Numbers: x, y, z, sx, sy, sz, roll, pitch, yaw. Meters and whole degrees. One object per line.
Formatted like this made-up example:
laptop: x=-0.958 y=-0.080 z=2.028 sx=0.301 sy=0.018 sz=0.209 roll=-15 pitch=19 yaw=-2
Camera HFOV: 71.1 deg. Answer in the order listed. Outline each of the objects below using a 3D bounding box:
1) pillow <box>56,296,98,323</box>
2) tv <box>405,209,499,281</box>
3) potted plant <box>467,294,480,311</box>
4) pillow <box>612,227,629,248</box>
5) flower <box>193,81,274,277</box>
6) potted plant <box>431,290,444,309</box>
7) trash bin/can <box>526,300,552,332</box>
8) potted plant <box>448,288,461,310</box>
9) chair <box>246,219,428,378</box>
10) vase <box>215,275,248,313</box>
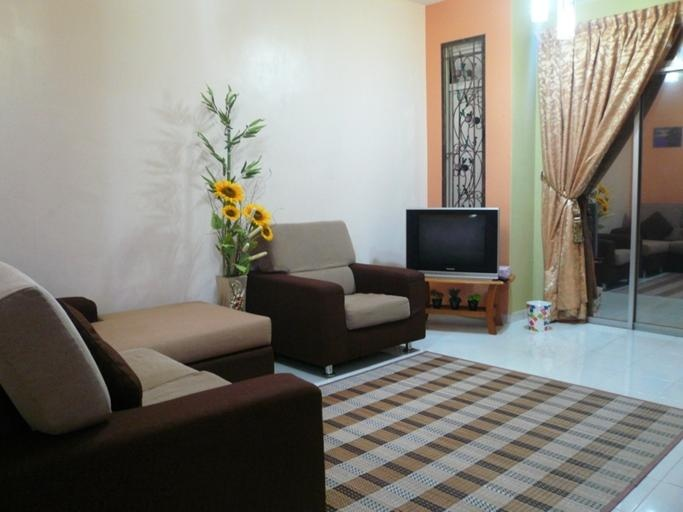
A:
pillow: x=-1.377 y=0.279 z=2.474 sx=0.203 sy=0.109 sz=0.216 roll=14 pitch=1 yaw=37
tv: x=1.212 y=-0.143 z=5.062 sx=0.971 sy=0.727 sz=0.529 roll=2 pitch=8 yaw=24
potted plant: x=1.334 y=0.478 z=4.881 sx=0.135 sy=0.164 sz=0.157 roll=-1 pitch=-2 yaw=35
pillow: x=2.836 y=-0.194 z=4.843 sx=0.174 sy=0.187 sz=0.170 roll=-1 pitch=3 yaw=-13
flower: x=-0.870 y=-0.616 z=3.913 sx=0.576 sy=1.582 sz=0.695 roll=-4 pitch=9 yaw=-17
potted plant: x=0.989 y=0.460 z=5.045 sx=0.161 sy=0.192 sz=0.175 roll=0 pitch=1 yaw=32
trash bin/can: x=1.987 y=0.600 z=4.804 sx=0.263 sy=0.287 sz=0.264 roll=0 pitch=2 yaw=19
potted plant: x=1.153 y=0.455 z=4.994 sx=0.173 sy=0.290 sz=0.188 roll=0 pitch=1 yaw=23
chair: x=-0.038 y=0.313 z=4.223 sx=1.385 sy=1.180 sz=1.047 roll=-4 pitch=6 yaw=-41
vase: x=-0.888 y=0.289 z=3.841 sx=0.203 sy=0.290 sz=0.206 roll=-1 pitch=21 yaw=-24
